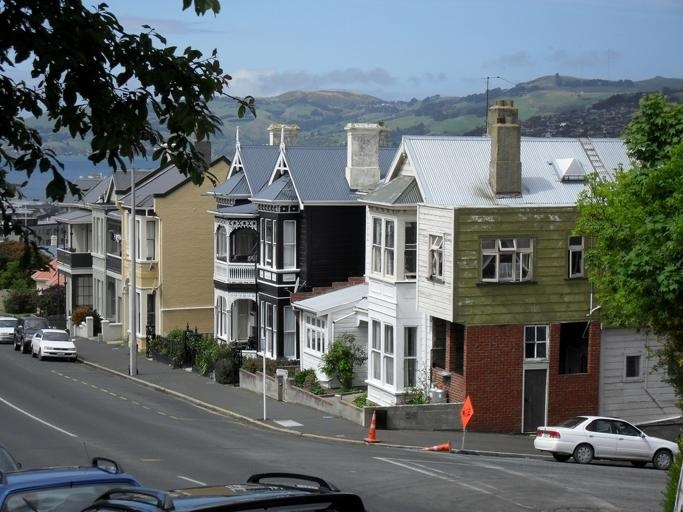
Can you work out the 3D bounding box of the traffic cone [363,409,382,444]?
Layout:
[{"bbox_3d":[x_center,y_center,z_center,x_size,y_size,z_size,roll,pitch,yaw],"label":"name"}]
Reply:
[{"bbox_3d":[1.083,6.342,59.476,0.857,1.147,0.856,2,-6,-3],"label":"traffic cone"}]

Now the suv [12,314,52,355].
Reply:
[{"bbox_3d":[-15.981,3.974,83.295,1.143,1.187,2.478,2,-6,-24],"label":"suv"}]
